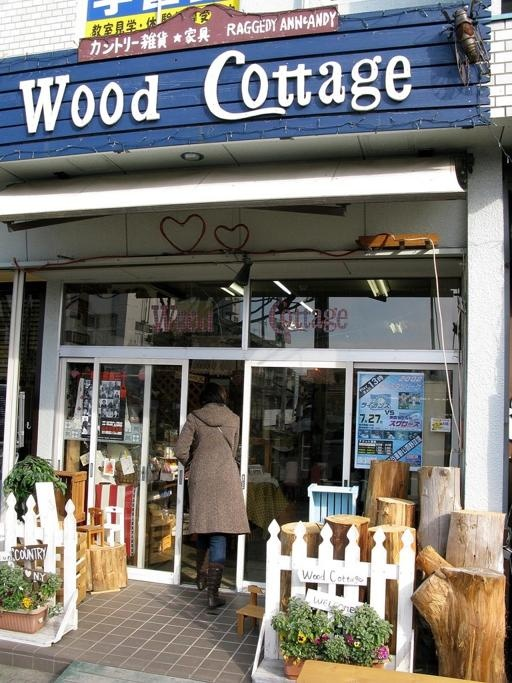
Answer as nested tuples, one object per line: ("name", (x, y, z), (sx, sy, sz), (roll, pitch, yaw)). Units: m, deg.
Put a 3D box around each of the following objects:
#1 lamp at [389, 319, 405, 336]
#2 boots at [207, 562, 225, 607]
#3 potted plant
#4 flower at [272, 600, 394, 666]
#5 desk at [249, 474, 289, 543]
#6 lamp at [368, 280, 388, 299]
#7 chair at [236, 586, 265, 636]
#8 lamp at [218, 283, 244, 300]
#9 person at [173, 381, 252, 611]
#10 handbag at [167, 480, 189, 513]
("lamp", (1.231, -0.129, 6.178), (0.115, 0.123, 0.032), (0, -9, 25))
("boots", (-0.340, 2.031, 6.036), (0.118, 0.356, 0.242), (0, -13, 11))
("potted plant", (-1.976, 1.260, 6.478), (0.518, 0.519, 0.537), (0, 3, 38))
("flower", (0.435, 1.730, 4.253), (0.697, 0.352, 0.261), (0, -3, 28))
("desk", (0.097, 1.439, 6.485), (0.468, 0.447, 0.431), (2, -8, -3))
("lamp", (1.084, -0.469, 6.291), (0.158, 0.157, 0.037), (-2, 7, 42))
("chair", (0.011, 2.039, 5.451), (0.225, 0.318, 0.231), (-1, -1, 29))
("lamp", (-0.210, -0.480, 6.687), (0.190, 0.121, 0.358), (1, -2, -11))
("person", (-0.365, 1.296, 6.197), (0.584, 1.848, 0.448), (-1, -3, 28))
("handbag", (-0.720, 1.440, 6.752), (0.283, 0.267, 0.065), (3, -5, 38))
